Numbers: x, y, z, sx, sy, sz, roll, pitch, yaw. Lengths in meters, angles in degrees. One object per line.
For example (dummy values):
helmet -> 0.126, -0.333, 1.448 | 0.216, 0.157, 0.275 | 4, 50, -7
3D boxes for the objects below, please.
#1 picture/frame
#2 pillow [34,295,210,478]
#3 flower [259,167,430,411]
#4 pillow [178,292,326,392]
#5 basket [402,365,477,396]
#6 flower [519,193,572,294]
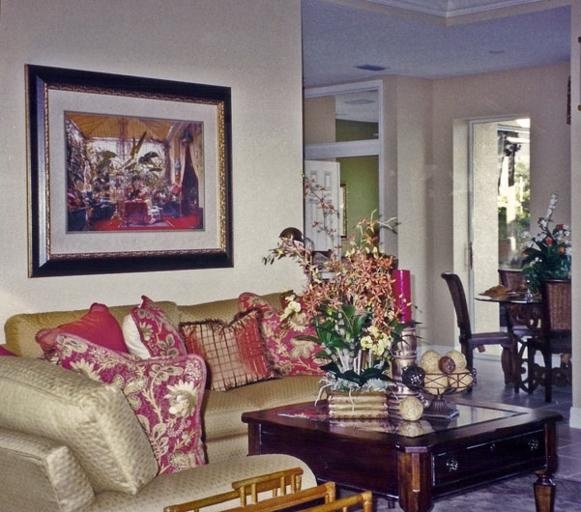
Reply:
picture/frame -> -1.057, -0.536, 3.551 | 1.645, 1.289, 0.067 | 0, -3, -40
pillow -> -0.600, 0.461, 2.015 | 0.191, 0.617, 0.640 | -39, -18, 6
flower -> 0.328, 0.225, 2.465 | 0.696, 0.937, 0.569 | 2, -19, -3
pillow -> -0.266, 0.496, 3.414 | 0.651, 0.574, 0.181 | -13, -20, -39
basket -> 0.602, 0.513, 2.315 | 0.280, 0.103, 0.083 | -1, 2, 9
flower -> 2.120, -0.089, 4.695 | 0.085, 0.829, 0.386 | -3, 3, -44
